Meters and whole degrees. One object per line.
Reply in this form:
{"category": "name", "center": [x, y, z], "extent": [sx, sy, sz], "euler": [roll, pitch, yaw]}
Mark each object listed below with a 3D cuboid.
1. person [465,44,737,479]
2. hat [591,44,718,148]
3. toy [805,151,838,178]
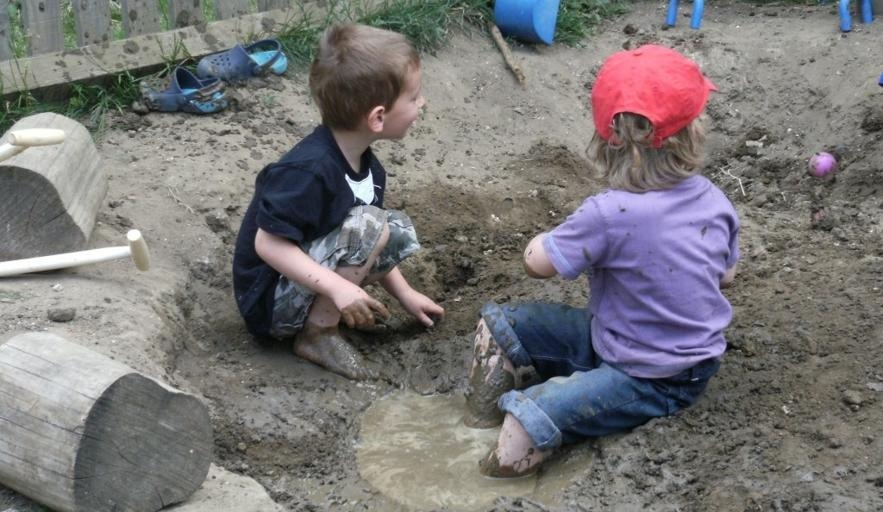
{"category": "person", "center": [0.934, 0.046, 4.733], "extent": [1.458, 2.153, 0.729], "euler": [-5, 26, -8]}
{"category": "hat", "center": [1.086, -0.871, 4.538], "extent": [0.448, 0.338, 0.617], "euler": [18, 58, 28]}
{"category": "toy", "center": [2.668, -0.631, 6.094], "extent": [0.178, 0.148, 0.163], "euler": [8, 28, 16]}
